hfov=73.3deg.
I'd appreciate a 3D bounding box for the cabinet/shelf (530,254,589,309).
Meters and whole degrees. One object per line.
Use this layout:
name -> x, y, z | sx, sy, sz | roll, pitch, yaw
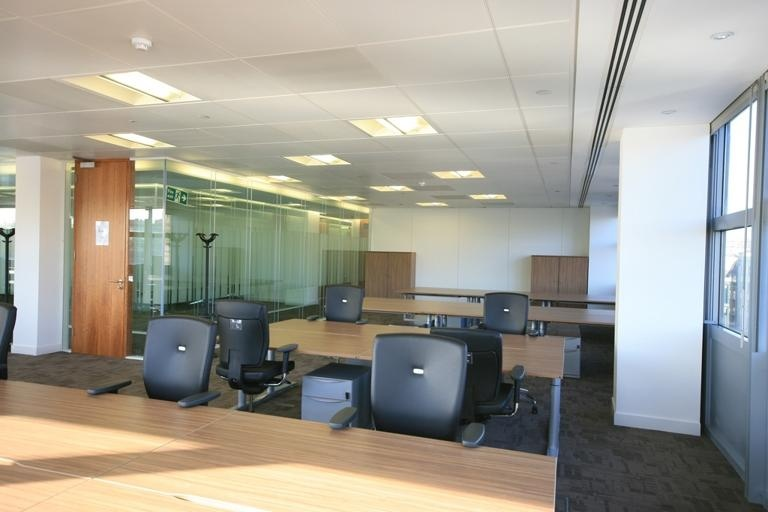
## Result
cabinet/shelf -> 4.808, 0.716, 14.037 | 1.698, 1.423, 0.509 | 0, -4, 13
